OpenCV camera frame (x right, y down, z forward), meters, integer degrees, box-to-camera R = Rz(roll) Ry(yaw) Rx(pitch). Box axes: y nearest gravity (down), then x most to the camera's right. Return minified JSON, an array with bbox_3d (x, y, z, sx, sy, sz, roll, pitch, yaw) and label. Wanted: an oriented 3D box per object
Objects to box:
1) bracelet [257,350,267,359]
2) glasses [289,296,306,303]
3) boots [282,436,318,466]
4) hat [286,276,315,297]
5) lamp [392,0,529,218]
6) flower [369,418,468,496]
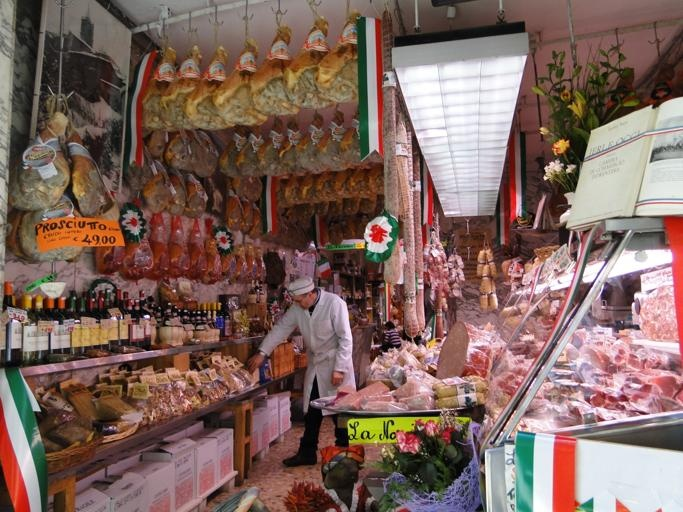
[{"bbox_3d":[-0.764,0.960,5.074,0.061,0.069,0.068,22,23,-30],"label":"bracelet"},{"bbox_3d":[-0.437,0.411,5.076,0.085,0.059,0.256,-3,1,-22],"label":"glasses"},{"bbox_3d":[-0.364,1.842,4.946,0.399,0.306,0.149,4,-10,-5],"label":"boots"},{"bbox_3d":[-0.390,0.292,5.030,0.237,0.182,0.186,-3,1,-8],"label":"hat"},{"bbox_3d":[0.951,-1.088,4.171,0.718,1.073,2.767,-3,1,14],"label":"lamp"},{"bbox_3d":[0.304,0.805,2.250,0.251,0.308,0.300,31,-8,-18],"label":"flower"}]
